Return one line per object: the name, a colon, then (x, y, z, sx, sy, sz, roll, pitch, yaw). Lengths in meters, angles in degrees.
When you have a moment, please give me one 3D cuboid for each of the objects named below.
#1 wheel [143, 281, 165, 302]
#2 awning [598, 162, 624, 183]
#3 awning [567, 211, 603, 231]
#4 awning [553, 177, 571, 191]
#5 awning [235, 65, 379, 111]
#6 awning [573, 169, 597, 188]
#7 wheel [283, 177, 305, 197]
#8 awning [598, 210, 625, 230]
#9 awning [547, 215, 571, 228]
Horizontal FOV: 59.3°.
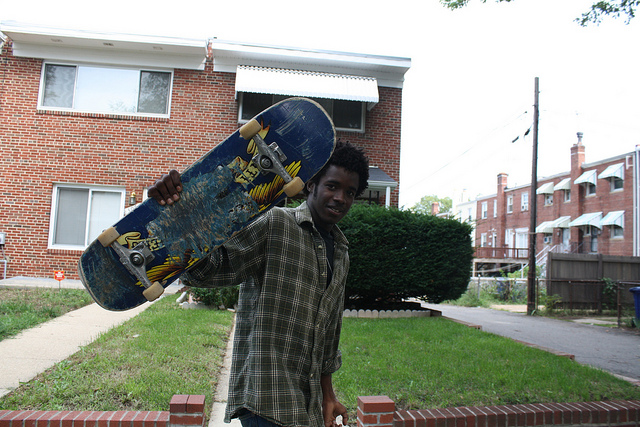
wheel: (-2.335, 1.096, 8.034, 0.231, 0.291, 0.252, 48, -3, 4)
awning: (16.640, -2.172, 32.209, 0.760, 1.009, 1.455, 15, -13, -19)
awning: (15.965, 0.395, 33.886, 0.892, 1.126, 2.270, 4, -4, -7)
awning: (15.601, -1.742, 36.485, 0.640, 0.743, 1.205, 3, -5, -18)
awning: (-0.413, -4.211, 18.650, 4.631, 1.053, 1.357, 3, -4, -9)
awning: (16.121, -2.282, 34.487, 0.800, 1.094, 1.426, 6, -8, -16)
wheel: (-0.393, -0.407, 8.039, 0.224, 0.160, 0.128, -38, 17, -1)
awning: (16.460, 0.298, 31.972, 0.761, 1.125, 1.344, 4, -4, -8)
awning: (15.287, 0.452, 36.212, 0.870, 0.819, 1.561, 4, -4, -10)
